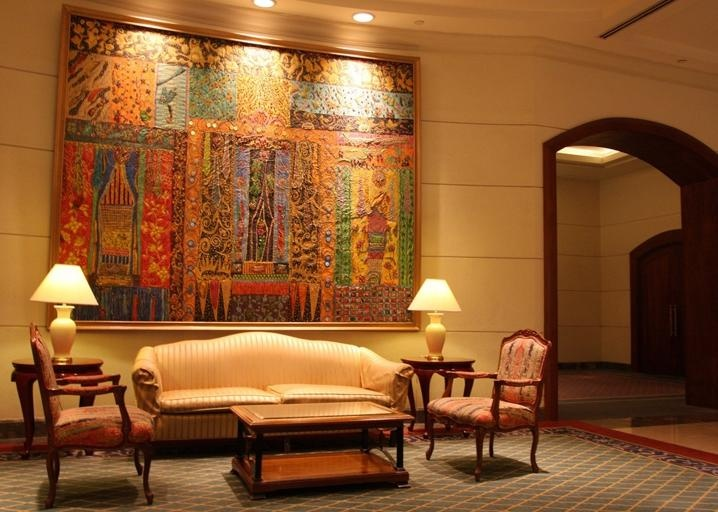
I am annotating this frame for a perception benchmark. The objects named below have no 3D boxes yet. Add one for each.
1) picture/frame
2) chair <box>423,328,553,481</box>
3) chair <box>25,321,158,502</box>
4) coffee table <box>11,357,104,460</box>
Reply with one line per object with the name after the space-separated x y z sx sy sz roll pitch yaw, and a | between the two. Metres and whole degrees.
-1.485 -0.885 6.120 3.582 2.675 0.128 1 -5 -23 | picture/frame
1.153 1.374 5.720 1.178 1.611 1.164 8 -10 -29 | chair
-2.131 1.171 4.524 0.845 1.255 1.353 2 -2 -31 | chair
-2.793 1.335 5.434 0.908 0.978 0.886 3 0 -43 | coffee table
